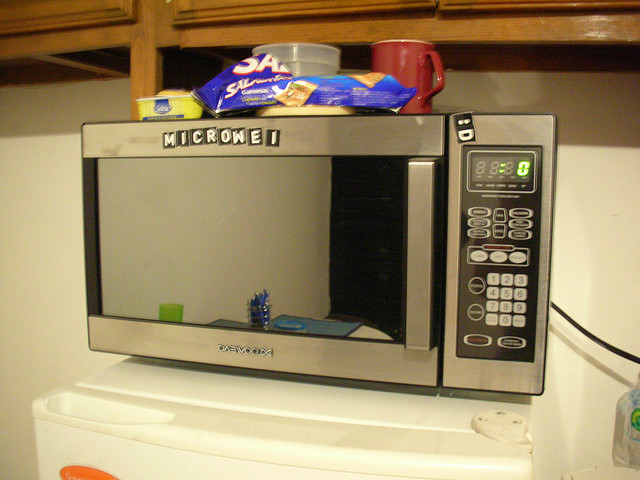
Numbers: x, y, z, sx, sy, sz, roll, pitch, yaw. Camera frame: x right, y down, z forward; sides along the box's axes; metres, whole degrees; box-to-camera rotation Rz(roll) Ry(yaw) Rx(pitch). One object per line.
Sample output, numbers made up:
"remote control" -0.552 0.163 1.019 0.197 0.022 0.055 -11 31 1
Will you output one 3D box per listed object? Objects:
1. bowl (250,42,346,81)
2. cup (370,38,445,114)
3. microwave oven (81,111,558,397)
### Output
"bowl" -0.048 -0.347 1.108 0.178 0.102 0.166 0 5 0
"cup" 0.182 -0.318 1.111 0.113 0.147 0.168 -15 34 -18
"microwave oven" 0.011 0.021 1.217 0.940 0.476 0.429 1 -1 22
